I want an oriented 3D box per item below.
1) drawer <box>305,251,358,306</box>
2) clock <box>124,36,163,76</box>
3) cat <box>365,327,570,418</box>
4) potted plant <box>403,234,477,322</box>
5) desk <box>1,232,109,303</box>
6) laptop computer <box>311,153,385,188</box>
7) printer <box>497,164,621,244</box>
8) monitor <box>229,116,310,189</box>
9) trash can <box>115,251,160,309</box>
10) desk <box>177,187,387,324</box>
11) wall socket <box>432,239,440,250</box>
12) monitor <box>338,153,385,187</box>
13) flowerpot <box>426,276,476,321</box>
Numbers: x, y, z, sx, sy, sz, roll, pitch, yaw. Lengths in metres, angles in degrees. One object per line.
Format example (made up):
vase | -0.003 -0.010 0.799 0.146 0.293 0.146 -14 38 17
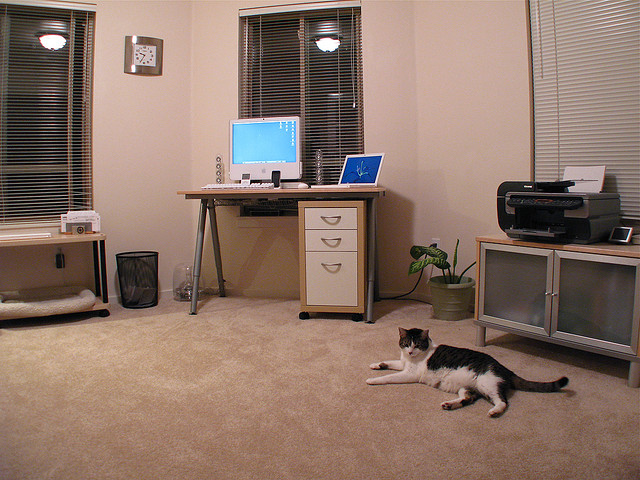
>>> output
drawer | 0.150 0.226 3.852 0.506 0.476 0.361 0 2 7
clock | -1.274 -1.332 3.727 0.266 0.248 0.140 1 8 -19
cat | 0.778 0.610 2.731 0.712 0.229 0.537 8 -2 14
potted plant | 0.935 0.277 3.877 0.448 0.590 0.622 3 15 16
desk | -1.993 0.214 4.009 0.651 0.576 0.466 -7 16 -20
laptop computer | 0.296 -0.539 3.901 0.330 0.232 0.315 4 15 18
printer | 1.420 -0.213 3.109 0.513 0.465 0.576 -5 8 -39
monitor | -0.403 -0.714 4.192 0.635 0.553 0.267 2 7 19
trash can | -1.446 0.316 4.291 0.482 0.571 0.396 -1 -3 -9
desk | -0.264 0.094 4.042 1.569 0.968 0.567 1 8 17
wall socket | 0.929 0.025 4.082 0.043 0.063 0.094 -4 15 -9
monitor | 0.321 -0.553 3.950 0.322 0.190 0.276 4 19 25
flowerpot | 0.974 0.433 3.826 0.332 0.233 0.323 -2 2 -10
